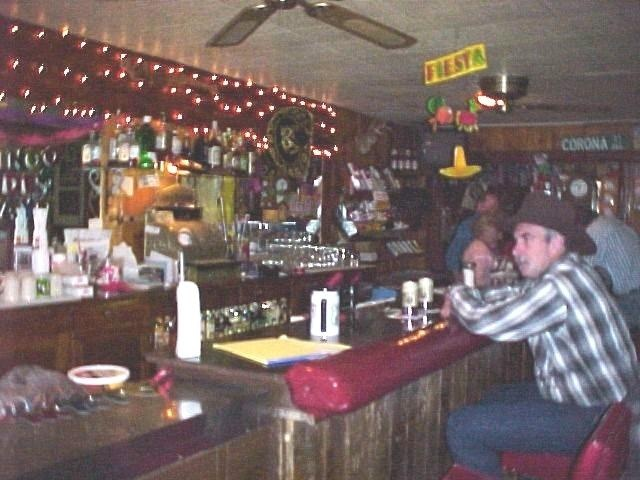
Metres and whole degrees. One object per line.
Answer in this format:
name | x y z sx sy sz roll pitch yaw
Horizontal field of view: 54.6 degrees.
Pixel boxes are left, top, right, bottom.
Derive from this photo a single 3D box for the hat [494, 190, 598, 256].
hat | 1.158 -0.060 3.153 0.373 0.143 0.309 24 3 19
